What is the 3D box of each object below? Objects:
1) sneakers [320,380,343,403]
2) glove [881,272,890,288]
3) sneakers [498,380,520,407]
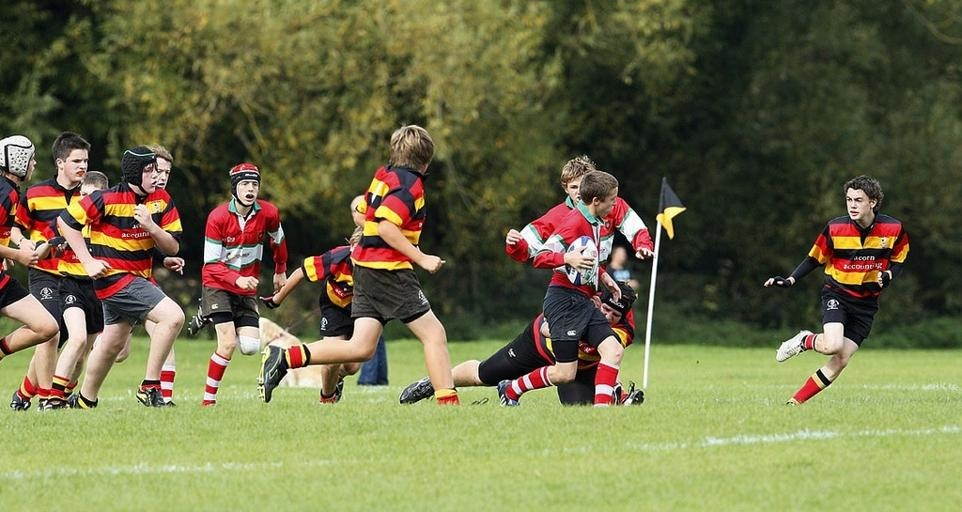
[{"bbox_3d":[-3.063,2.794,25.245,0.249,0.284,0.656,4,5,4],"label":"sneakers"},{"bbox_3d":[8.108,0.452,24.865,0.217,0.276,0.342,4,-1,17],"label":"glove"},{"bbox_3d":[0.502,2.744,24.662,0.251,0.599,0.274,0,-2,-12],"label":"sneakers"}]
